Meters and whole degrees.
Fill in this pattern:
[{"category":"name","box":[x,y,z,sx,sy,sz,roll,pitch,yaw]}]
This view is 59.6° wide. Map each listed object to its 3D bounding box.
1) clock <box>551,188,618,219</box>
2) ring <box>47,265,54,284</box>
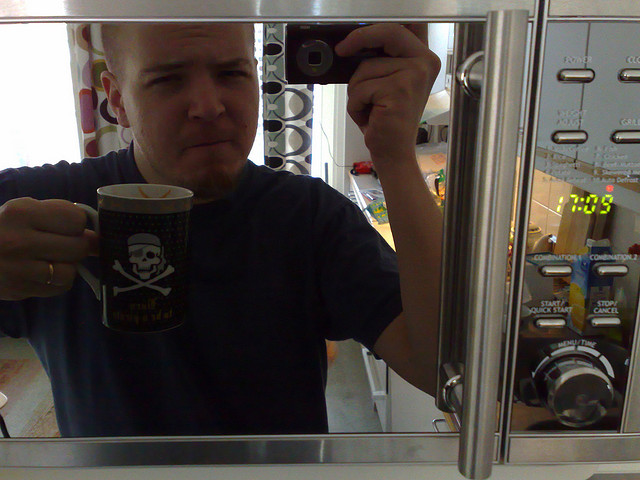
[{"category":"clock","box":[0.263,-0.043,0.554,0.052,0.014,0.057,11,12,-9]},{"category":"ring","box":[-0.270,0.035,0.563,0.005,0.014,0.012,1,4,1]}]
